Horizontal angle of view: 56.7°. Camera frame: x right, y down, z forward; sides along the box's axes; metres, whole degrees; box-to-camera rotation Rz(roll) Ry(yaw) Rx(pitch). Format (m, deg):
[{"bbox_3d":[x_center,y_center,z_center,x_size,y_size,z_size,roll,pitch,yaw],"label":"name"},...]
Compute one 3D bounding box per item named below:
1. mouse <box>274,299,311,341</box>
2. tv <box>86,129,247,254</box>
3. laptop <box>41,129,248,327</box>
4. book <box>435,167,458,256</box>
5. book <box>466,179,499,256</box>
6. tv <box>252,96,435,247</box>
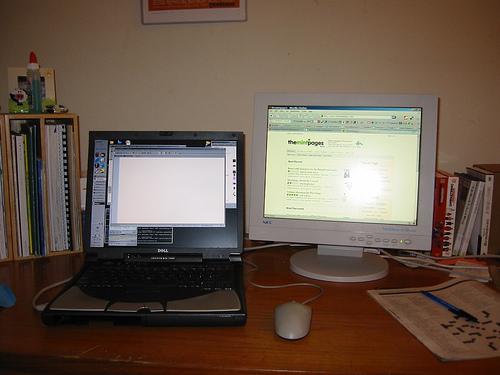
[{"bbox_3d":[0.109,0.334,1.206,0.105,0.042,0.133,-2,31,7],"label":"mouse"},{"bbox_3d":[-0.275,0.024,1.443,0.421,0.290,0.028,1,-8,-3],"label":"tv"},{"bbox_3d":[-0.258,0.111,1.411,0.607,0.410,0.532,3,21,0],"label":"laptop"},{"bbox_3d":[0.658,0.093,1.542,0.038,0.267,0.029,2,7,12],"label":"book"},{"bbox_3d":[0.775,0.091,1.543,0.032,0.289,0.247,20,14,24],"label":"book"},{"bbox_3d":[0.309,-0.060,1.434,0.521,0.402,0.040,1,2,8],"label":"tv"}]
